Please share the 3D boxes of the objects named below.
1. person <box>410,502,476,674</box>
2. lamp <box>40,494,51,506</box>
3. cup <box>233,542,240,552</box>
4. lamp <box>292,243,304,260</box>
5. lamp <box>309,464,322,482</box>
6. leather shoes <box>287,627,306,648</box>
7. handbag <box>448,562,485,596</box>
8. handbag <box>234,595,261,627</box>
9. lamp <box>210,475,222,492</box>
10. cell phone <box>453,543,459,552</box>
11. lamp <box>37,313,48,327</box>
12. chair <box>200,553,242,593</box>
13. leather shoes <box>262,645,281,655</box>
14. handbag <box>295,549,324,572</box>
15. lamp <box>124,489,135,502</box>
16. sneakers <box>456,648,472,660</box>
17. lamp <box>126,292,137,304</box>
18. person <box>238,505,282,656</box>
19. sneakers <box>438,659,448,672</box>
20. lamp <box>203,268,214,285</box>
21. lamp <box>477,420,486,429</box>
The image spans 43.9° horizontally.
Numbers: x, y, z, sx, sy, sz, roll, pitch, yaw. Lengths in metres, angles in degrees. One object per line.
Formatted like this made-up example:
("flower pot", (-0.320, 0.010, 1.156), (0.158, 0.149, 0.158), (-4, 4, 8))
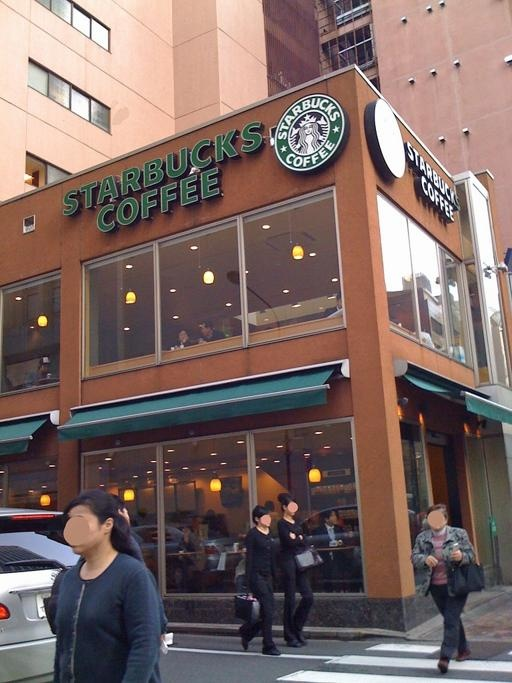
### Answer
("person", (2.102, 2.691, 7.079), (0.672, 1.689, 1.478), (-7, -16, 13))
("lamp", (-4.474, 3.389, 13.502), (0.349, 0.266, 0.075), (-13, -18, 32))
("cup", (-0.330, 3.495, 10.806), (0.153, 0.228, 0.143), (1, -33, 0))
("lamp", (0.744, -1.599, 11.350), (0.235, 0.238, 0.249), (1, -11, -4))
("lamp", (0.937, 2.157, 10.292), (0.227, 0.207, 0.225), (0, -19, -2))
("leather shoes", (0.526, 4.028, 8.578), (0.119, 0.245, 0.353), (8, -34, -30))
("handbag", (2.215, 2.522, 6.722), (0.373, 0.347, 0.209), (-6, -15, 9))
("handbag", (-0.109, 3.451, 8.160), (0.295, 0.383, 0.354), (0, -16, -13))
("lamp", (-0.722, 2.530, 11.221), (0.216, 0.219, 0.223), (7, -23, -29))
("cell phone", (2.130, 2.206, 6.806), (0.067, 0.068, 0.112), (-9, -16, 20))
("lamp", (-4.893, -0.474, 14.500), (0.229, 0.297, 0.123), (-4, -6, 27))
("chair", (-0.582, 3.985, 10.856), (0.707, 0.437, 0.728), (-3, -9, 5))
("leather shoes", (0.184, 3.861, 7.944), (0.227, 0.113, 0.195), (-3, -15, -1))
("handbag", (0.694, 2.996, 8.711), (0.388, 0.241, 0.166), (11, -21, -43))
("lamp", (-2.439, 2.974, 12.257), (0.235, 0.222, 0.232), (3, -23, -10))
("sneakers", (2.281, 3.446, 7.014), (0.090, 0.110, 0.266), (-16, -22, 30))
("lamp", (-2.624, -0.899, 13.315), (0.211, 0.260, 0.104), (3, -4, 28))
("person", (-0.007, 3.142, 8.444), (0.508, 1.832, 0.779), (-3, -15, -2))
("sneakers", (1.887, 3.268, 6.409), (0.060, 0.175, 0.118), (-7, 8, 9))
("lamp", (-0.938, -1.242, 12.332), (0.207, 0.265, 0.106), (1, 3, 24))
("lamp", (5.307, 1.969, 14.975), (0.243, 0.239, 0.197), (-1, -2, 35))
